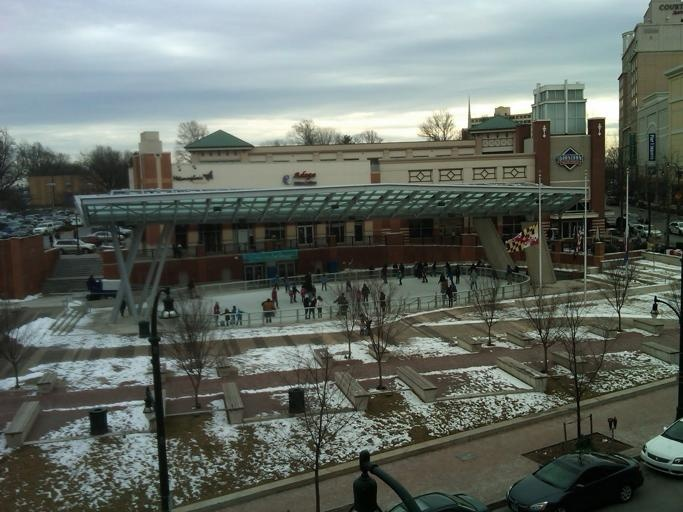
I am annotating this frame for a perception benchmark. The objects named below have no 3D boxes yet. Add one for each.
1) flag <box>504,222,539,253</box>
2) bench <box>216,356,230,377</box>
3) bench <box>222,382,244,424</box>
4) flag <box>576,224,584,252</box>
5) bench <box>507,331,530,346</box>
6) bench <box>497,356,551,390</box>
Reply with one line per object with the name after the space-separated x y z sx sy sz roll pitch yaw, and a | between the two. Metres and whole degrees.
14.621 -1.553 52.356 3.549 2.286 0.257 -12 20 -2 | flag
-5.748 4.971 30.689 0.716 0.349 1.566 -2 19 -7 | bench
-4.531 5.973 26.685 0.706 0.629 2.861 -7 13 -15 | bench
20.984 -1.307 56.653 0.614 2.196 5.898 -3 6 19 | flag
9.604 4.410 34.651 0.607 0.512 1.466 -7 6 -15 | bench
8.380 5.397 29.539 0.746 0.775 2.929 -7 6 -15 | bench
